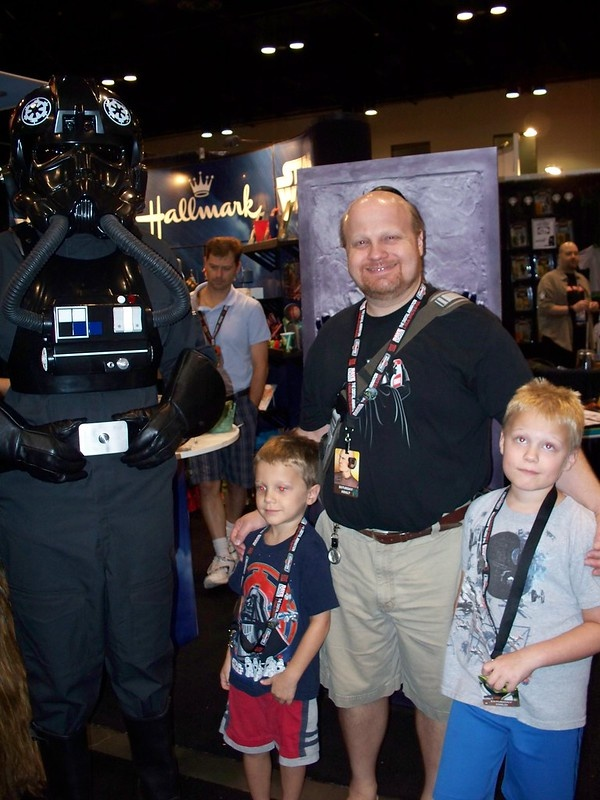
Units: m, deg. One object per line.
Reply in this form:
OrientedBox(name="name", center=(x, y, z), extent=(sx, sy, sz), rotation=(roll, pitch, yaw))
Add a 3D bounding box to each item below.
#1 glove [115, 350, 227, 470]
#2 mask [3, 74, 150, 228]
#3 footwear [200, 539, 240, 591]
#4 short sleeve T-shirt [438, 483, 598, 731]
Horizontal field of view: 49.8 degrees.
OrientedBox(name="glove", center=(-0.304, 0.034, 1.476), extent=(0.177, 0.266, 0.101), rotation=(42, -35, -26))
OrientedBox(name="mask", center=(-0.441, -0.519, 1.444), extent=(0.296, 0.321, 0.368), rotation=(-1, 8, -17))
OrientedBox(name="footwear", center=(-0.445, 0.882, 3.474), extent=(0.085, 0.260, 0.181), rotation=(-36, 17, -5))
OrientedBox(name="short sleeve T-shirt", center=(0.415, 0.390, 1.207), extent=(0.212, 0.422, 0.269), rotation=(-2, 3, -22))
